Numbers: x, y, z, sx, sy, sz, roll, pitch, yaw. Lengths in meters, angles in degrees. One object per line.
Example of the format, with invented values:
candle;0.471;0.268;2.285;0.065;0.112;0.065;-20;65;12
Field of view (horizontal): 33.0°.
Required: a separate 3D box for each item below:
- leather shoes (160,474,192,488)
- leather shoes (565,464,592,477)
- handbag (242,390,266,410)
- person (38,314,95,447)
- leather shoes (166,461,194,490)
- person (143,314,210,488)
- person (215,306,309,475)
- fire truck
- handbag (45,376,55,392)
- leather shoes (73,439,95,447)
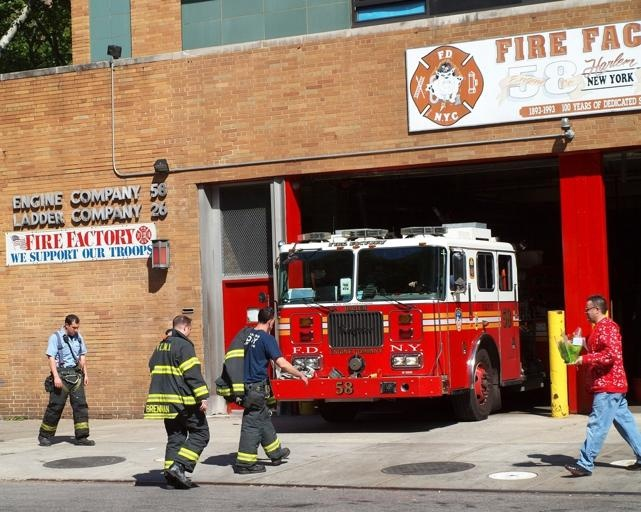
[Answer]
leather shoes;-1.976;3.092;14.879;0.200;0.181;0.398;-24;-32;18
leather shoes;3.371;2.837;14.269;0.376;0.158;0.151;13;-8;-4
handbag;-0.955;2.075;15.505;0.279;0.280;0.217;-4;34;12
person;-4.448;2.189;18.986;0.789;2.294;0.683;-1;-2;-27
leather shoes;-1.922;3.100;15.004;0.252;0.210;0.487;-21;-38;15
person;-1.971;2.029;14.923;0.853;2.376;0.481;-2;-2;-3
person;-0.960;1.952;15.625;1.032;2.372;0.550;-2;-2;-7
fire truck;2.040;1.245;21.085;3.601;3.796;6.393;-4;-3;29
handbag;-4.726;2.254;18.974;0.223;0.306;0.119;2;0;5
leather shoes;-4.130;3.269;18.954;0.341;0.144;0.147;0;-2;6
